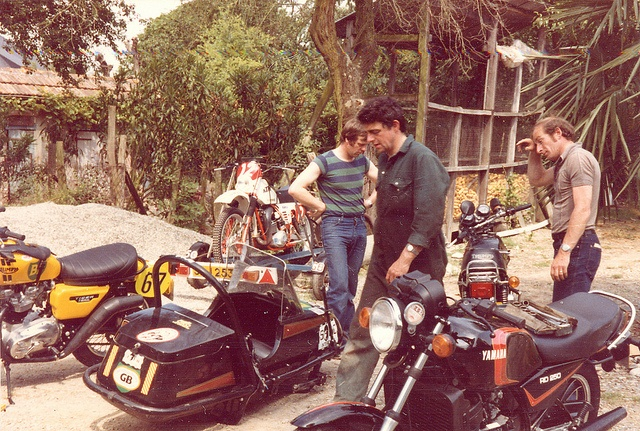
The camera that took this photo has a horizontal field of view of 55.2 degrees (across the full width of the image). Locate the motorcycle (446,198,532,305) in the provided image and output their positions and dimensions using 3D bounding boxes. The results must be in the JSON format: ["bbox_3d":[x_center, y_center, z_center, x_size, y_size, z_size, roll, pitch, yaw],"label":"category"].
[{"bbox_3d":[2.029,0.440,7.544,0.816,0.886,1.328,-14,34,24],"label":"motorcycle"}]

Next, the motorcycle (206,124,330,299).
[{"bbox_3d":[-0.828,-0.069,10.023,1.062,1.797,3.214,-1,3,24],"label":"motorcycle"}]

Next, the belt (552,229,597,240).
[{"bbox_3d":[2.708,0.201,6.440,0.267,0.088,0.194,-1,-5,-13],"label":"belt"}]

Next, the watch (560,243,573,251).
[{"bbox_3d":[2.538,0.324,6.325,0.114,0.082,0.057,2,3,16],"label":"watch"}]
